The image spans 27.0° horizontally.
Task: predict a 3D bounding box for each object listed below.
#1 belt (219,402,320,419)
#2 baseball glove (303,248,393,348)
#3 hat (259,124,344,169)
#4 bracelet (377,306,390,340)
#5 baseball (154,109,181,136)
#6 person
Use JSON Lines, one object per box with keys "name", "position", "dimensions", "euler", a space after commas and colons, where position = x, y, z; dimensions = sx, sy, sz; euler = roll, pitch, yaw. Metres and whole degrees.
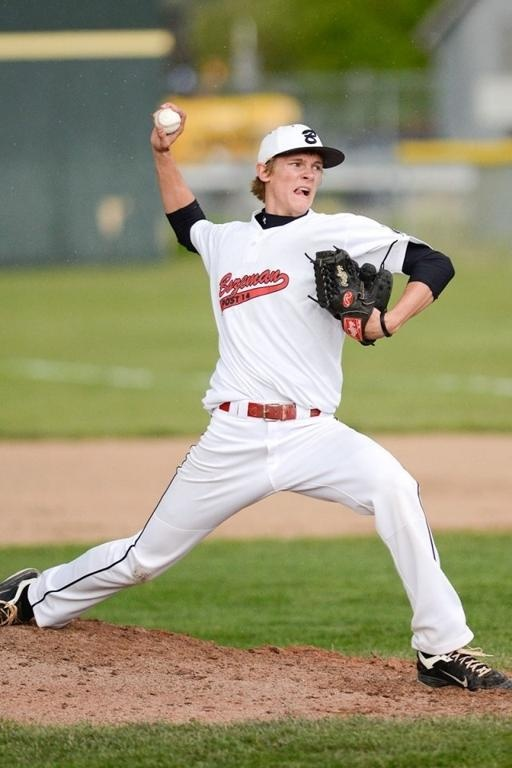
{"name": "belt", "position": [0.041, 0.092, 3.640], "dimensions": [0.343, 0.064, 0.093], "euler": [1, 3, 14]}
{"name": "baseball glove", "position": [0.375, -0.308, 3.525], "dimensions": [0.258, 0.321, 0.143], "euler": [-41, 4, 38]}
{"name": "hat", "position": [0.166, -0.861, 3.848], "dimensions": [0.174, 0.117, 0.263], "euler": [7, -15, -41]}
{"name": "bracelet", "position": [0.419, -0.188, 3.455], "dimensions": [0.022, 0.077, 0.078], "euler": [-6, 5, 9]}
{"name": "baseball", "position": [-0.339, -1.017, 4.121], "dimensions": [0.110, 0.092, 0.054], "euler": [-11, 5, 2]}
{"name": "person", "position": [0.100, -0.033, 3.780], "dimensions": [1.704, 2.025, 0.601], "euler": [2, 5, 25]}
